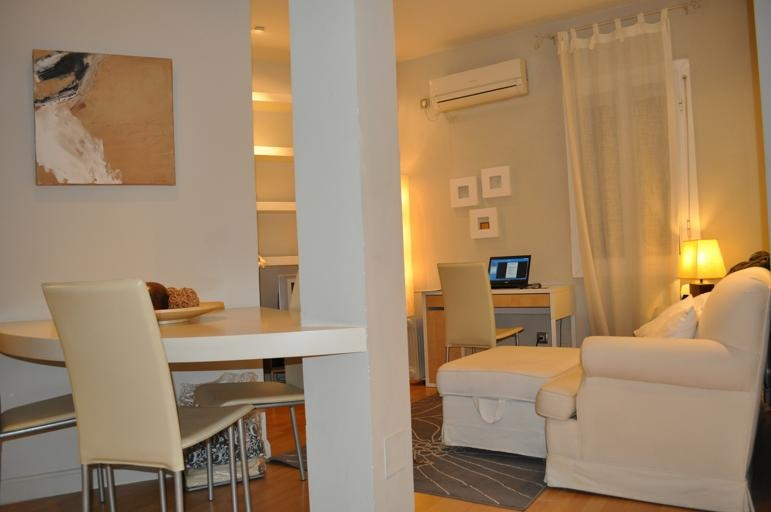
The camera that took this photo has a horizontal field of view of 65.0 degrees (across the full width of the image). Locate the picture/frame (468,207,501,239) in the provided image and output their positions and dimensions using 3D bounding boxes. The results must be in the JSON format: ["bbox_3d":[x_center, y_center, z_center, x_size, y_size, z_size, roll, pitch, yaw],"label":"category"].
[{"bbox_3d":[1.015,-0.332,6.211,0.286,0.266,0.157,-3,1,14],"label":"picture/frame"}]

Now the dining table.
[{"bbox_3d":[-0.884,0.508,3.068,2.092,0.558,1.147,0,5,24],"label":"dining table"}]

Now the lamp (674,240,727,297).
[{"bbox_3d":[2.691,0.178,5.027,0.327,0.603,0.326,-13,6,-21],"label":"lamp"}]

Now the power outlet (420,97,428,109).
[{"bbox_3d":[0.423,-1.653,6.548,0.118,0.113,0.064,5,11,27],"label":"power outlet"}]

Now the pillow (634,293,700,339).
[{"bbox_3d":[1.679,0.382,3.572,0.239,0.169,0.432,-2,-9,7],"label":"pillow"}]

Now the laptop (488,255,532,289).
[{"bbox_3d":[1.217,0.161,5.880,0.404,0.327,0.337,-1,-3,31],"label":"laptop"}]

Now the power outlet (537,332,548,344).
[{"bbox_3d":[1.464,0.767,5.657,0.096,0.097,0.097,-1,2,0],"label":"power outlet"}]

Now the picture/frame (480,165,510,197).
[{"bbox_3d":[1.122,-0.731,6.108,0.303,0.291,0.293,-2,-2,26],"label":"picture/frame"}]

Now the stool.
[{"bbox_3d":[0.821,0.933,4.159,0.739,0.474,0.747,-3,-3,24],"label":"stool"}]

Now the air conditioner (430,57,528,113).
[{"bbox_3d":[0.983,-1.707,6.096,0.680,0.243,0.136,-5,-9,31],"label":"air conditioner"}]

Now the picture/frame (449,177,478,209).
[{"bbox_3d":[0.830,-0.655,6.281,0.354,0.335,0.036,-2,-4,42],"label":"picture/frame"}]
